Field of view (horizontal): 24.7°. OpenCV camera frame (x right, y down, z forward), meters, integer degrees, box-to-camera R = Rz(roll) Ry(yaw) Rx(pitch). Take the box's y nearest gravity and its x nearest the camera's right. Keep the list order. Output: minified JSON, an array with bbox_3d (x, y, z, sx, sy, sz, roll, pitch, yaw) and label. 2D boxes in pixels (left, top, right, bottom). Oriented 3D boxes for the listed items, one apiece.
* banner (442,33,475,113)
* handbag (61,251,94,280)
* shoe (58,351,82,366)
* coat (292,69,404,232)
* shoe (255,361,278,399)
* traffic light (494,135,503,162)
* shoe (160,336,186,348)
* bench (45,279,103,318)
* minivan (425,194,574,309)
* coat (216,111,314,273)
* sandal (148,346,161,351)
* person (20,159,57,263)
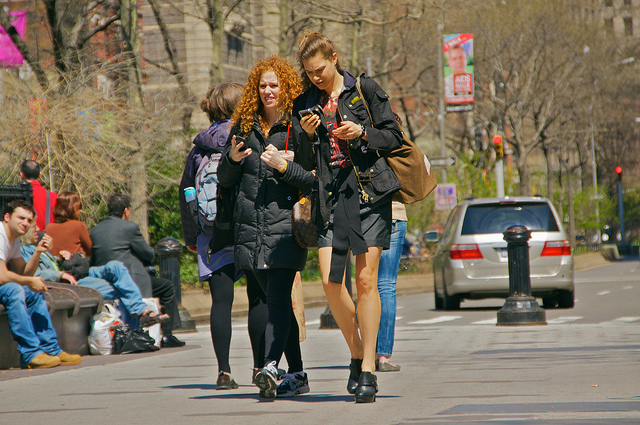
[{"bbox_3d":[4.113,-4.407,44.430,1.067,2.012,1.049,-4,1,17],"label":"banner"},{"bbox_3d":[-4.719,0.998,28.448,0.548,0.506,0.409,-5,21,-11],"label":"handbag"},{"bbox_3d":[-4.627,2.703,26.998,0.408,0.180,0.168,-1,2,-13],"label":"shoe"},{"bbox_3d":[0.375,-0.972,24.375,1.780,2.413,1.409,-18,-15,10],"label":"coat"},{"bbox_3d":[-0.890,2.782,24.416,0.273,0.675,0.326,-9,41,8],"label":"shoe"},{"bbox_3d":[4.747,-1.709,39.504,0.184,0.613,0.248,-5,1,9],"label":"traffic light"},{"bbox_3d":[-2.922,2.545,28.777,0.530,0.283,0.187,0,0,-7],"label":"shoe"},{"bbox_3d":[-4.675,1.589,27.609,0.684,0.244,0.698,5,8,-43],"label":"bench"},{"bbox_3d":[4.109,0.885,34.633,3.028,2.484,5.604,-1,2,-2],"label":"minivan"},{"bbox_3d":[-0.933,-0.404,24.771,1.855,2.544,1.411,1,-2,13],"label":"coat"},{"bbox_3d":[-3.218,2.623,28.227,0.231,0.088,0.055,-6,2,-42],"label":"sandal"},{"bbox_3d":[-5.802,0.118,29.515,0.950,2.586,0.860,1,28,-11],"label":"person"}]
